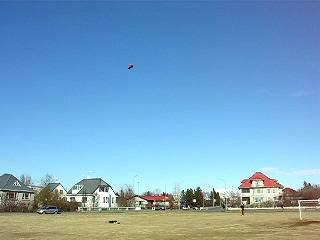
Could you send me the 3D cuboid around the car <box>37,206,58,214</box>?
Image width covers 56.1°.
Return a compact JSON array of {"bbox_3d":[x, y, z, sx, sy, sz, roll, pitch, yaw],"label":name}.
[{"bbox_3d":[-23.440,18.748,62.330,3.133,1.367,1.877,16,-23,-33],"label":"car"}]
